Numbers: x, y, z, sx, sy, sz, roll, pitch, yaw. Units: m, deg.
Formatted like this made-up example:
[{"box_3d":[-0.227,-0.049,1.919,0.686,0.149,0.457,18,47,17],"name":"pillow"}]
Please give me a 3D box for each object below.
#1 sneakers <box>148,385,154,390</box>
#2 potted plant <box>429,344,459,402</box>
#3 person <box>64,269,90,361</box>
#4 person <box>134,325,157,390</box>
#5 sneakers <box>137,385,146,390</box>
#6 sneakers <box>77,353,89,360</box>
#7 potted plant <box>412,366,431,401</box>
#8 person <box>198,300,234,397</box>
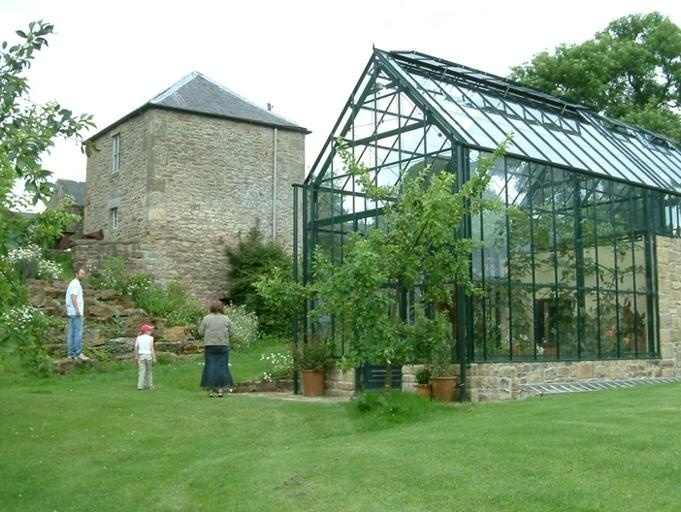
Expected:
[{"box_3d":[-3.736,2.587,13.917,0.083,0.042,0.114,1,0,0],"name":"sneakers"},{"box_3d":[1.980,2.212,13.456,0.591,1.143,0.545,-3,7,-13],"name":"potted plant"},{"box_3d":[-5.700,1.261,15.217,0.450,1.990,1.351,-4,7,-22],"name":"person"},{"box_3d":[-3.896,2.013,14.090,0.343,1.394,1.256,-4,7,-16],"name":"person"},{"box_3d":[-3.858,2.549,13.660,0.068,0.075,0.167,6,-15,-33],"name":"sneakers"},{"box_3d":[-5.583,2.203,15.318,0.324,0.143,0.103,-5,-4,40],"name":"sneakers"},{"box_3d":[1.564,2.438,13.539,0.459,0.605,0.431,2,-2,7],"name":"potted plant"},{"box_3d":[-2.381,1.819,13.575,0.645,1.851,0.493,-3,7,-11],"name":"person"}]
